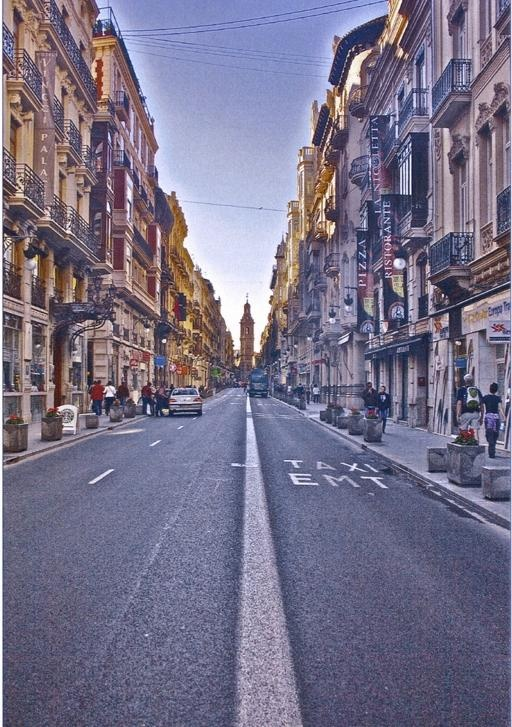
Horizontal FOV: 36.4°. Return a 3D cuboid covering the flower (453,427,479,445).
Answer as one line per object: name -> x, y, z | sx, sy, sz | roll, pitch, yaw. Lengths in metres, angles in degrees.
flower -> 3.280, 1.176, 12.232 | 0.338, 0.231, 0.313 | -2, -4, 19

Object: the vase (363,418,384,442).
vase -> 3.082, 1.768, 20.626 | 0.438, 0.633, 0.459 | 0, -3, 5

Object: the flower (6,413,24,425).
flower -> -5.191, 1.228, 16.700 | 0.345, 0.174, 0.612 | 2, -5, -21

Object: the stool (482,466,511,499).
stool -> 3.336, 1.678, 10.829 | 0.358, 0.447, 0.593 | -1, -4, 18

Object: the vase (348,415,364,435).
vase -> 3.090, 1.909, 24.024 | 0.390, 0.904, 0.485 | 2, -6, -16

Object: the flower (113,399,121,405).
flower -> -5.705, 1.566, 31.664 | 0.151, 0.258, 0.195 | -3, -4, -2

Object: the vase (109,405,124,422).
vase -> -5.228, 1.892, 29.050 | 0.346, 0.999, 0.627 | 2, -5, -4

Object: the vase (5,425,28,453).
vase -> -5.042, 1.579, 16.407 | 0.387, 0.916, 0.472 | -4, -5, 30

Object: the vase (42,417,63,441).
vase -> -5.151, 1.655, 19.631 | 0.495, 0.622, 0.679 | 1, -4, -21

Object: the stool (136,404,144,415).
stool -> -5.491, 2.196, 36.618 | 0.252, 0.570, 0.459 | 1, -1, 3

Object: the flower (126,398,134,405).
flower -> -5.488, 1.651, 33.722 | 0.197, 0.193, 0.209 | 10, -12, -36

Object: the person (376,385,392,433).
person -> 4.127, 1.488, 25.419 | 0.371, 1.525, 2.666 | 0, -4, 9

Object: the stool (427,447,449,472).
stool -> 3.249, 1.720, 13.961 | 0.296, 0.474, 0.375 | 0, -4, -1

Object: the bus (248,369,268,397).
bus -> 0.229, 2.028, 81.201 | 1.831, 3.010, 2.625 | 2, -4, -37

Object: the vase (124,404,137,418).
vase -> -5.209, 1.927, 31.900 | 0.373, 0.643, 0.430 | 0, -3, -3

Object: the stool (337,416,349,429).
stool -> 2.916, 2.016, 26.484 | 0.265, 0.437, 0.349 | 1, -4, 0

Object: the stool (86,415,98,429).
stool -> -5.211, 1.841, 24.742 | 0.283, 0.474, 0.368 | 1, -12, -2

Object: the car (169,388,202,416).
car -> -3.321, 1.794, 36.410 | 1.446, 1.286, 2.084 | -1, -5, 19

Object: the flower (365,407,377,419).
flower -> 3.222, 1.394, 21.941 | 0.179, 0.266, 0.382 | 6, -8, 5

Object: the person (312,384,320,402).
person -> 4.502, 2.322, 58.732 | 0.447, 1.299, 1.216 | 0, -4, 10
